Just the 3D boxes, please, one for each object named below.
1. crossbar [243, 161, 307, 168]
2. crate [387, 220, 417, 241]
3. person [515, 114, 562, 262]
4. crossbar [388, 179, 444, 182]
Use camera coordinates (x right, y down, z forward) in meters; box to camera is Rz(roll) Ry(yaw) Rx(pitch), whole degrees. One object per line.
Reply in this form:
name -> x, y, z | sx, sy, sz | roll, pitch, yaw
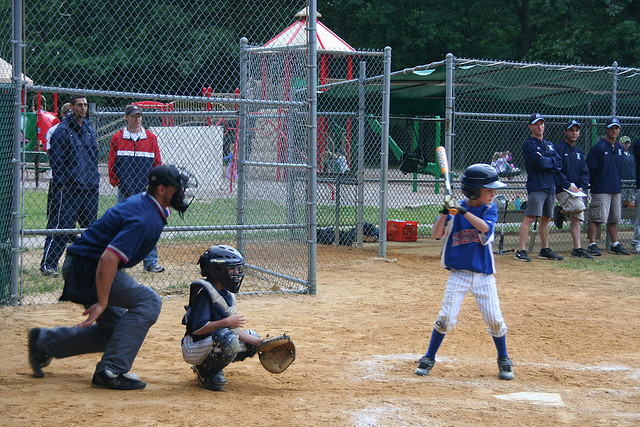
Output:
crossbar -> -0.743, -0.798, 15.808 | 1.262, 0.108, 0.253 | 1, 3, 42
crate -> 1.683, 0.362, 20.386 | 0.630, 0.406, 0.385 | 0, 2, 11
person -> 4.045, -0.455, 17.972 | 0.740, 2.720, 0.569 | -1, 3, -11
crossbar -> 1.886, -0.671, 19.751 | 1.011, 0.055, 1.613 | 0, 2, 3
